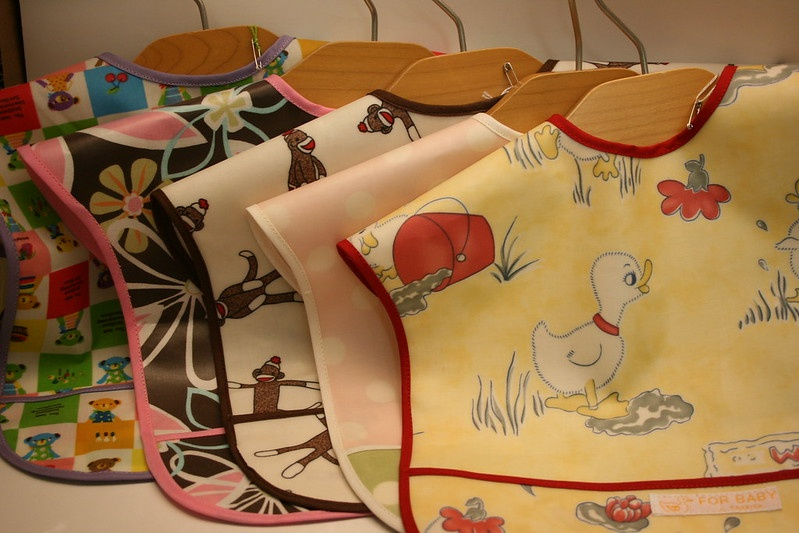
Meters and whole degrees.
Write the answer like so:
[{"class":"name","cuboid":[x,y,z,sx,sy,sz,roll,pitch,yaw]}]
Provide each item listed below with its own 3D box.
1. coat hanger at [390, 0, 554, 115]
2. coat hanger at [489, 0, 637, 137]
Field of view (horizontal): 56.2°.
[{"class":"coat hanger","cuboid":[0.169,-0.537,1.899,0.340,0.395,0.042,-10,-2,-11]},{"class":"coat hanger","cuboid":[0.406,-0.509,1.892,0.481,0.466,0.029,-8,31,-12]}]
